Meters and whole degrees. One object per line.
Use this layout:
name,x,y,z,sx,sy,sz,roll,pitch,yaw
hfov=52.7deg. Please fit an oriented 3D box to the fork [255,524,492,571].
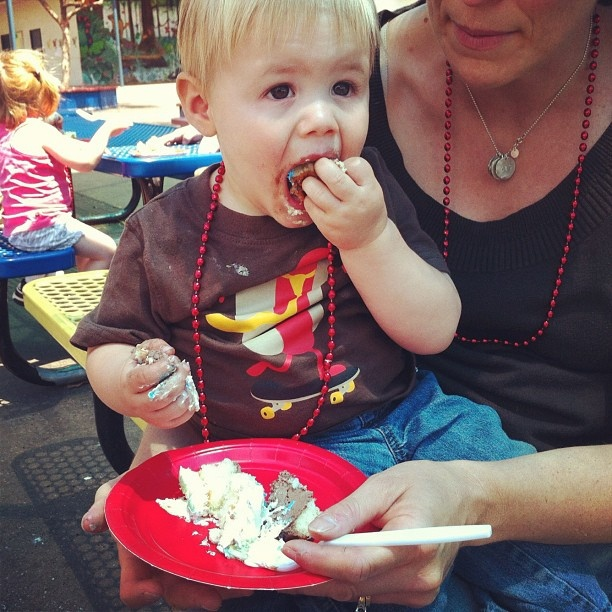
fork,0.128,0.396,1.079,0.375,0.035,0.058,-8,5,27

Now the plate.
plate,-0.125,0.397,1.204,0.456,0.038,0.432,19,24,24

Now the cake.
cake,-0.099,0.381,1.254,0.287,0.138,0.300,-6,14,-27

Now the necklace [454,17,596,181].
necklace,0.555,-0.526,1.656,0.367,0.488,0.034,6,-15,18

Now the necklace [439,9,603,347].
necklace,0.550,-0.339,1.683,0.521,0.774,0.464,3,19,4

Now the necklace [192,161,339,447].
necklace,-0.088,0.002,1.446,0.417,0.682,0.071,4,-2,-3
